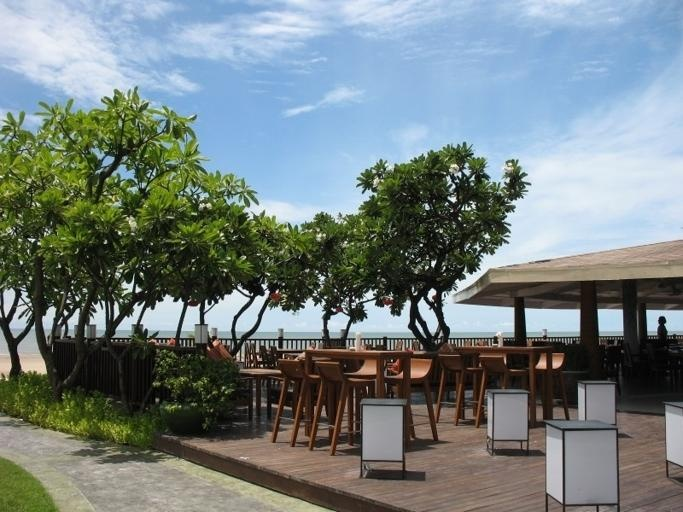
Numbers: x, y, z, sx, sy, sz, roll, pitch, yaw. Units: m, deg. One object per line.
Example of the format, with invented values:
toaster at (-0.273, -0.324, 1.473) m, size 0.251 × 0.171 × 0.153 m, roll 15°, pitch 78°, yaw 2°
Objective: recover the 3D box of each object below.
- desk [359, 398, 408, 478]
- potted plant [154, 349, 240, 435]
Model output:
desk at (0.621, 2.725, 8.805) m, size 0.681 × 1.109 × 0.653 m, roll 0°, pitch -12°, yaw 1°
potted plant at (-2.888, 2.664, 11.795) m, size 1.617 × 1.492 × 1.522 m, roll 7°, pitch -17°, yaw -9°
